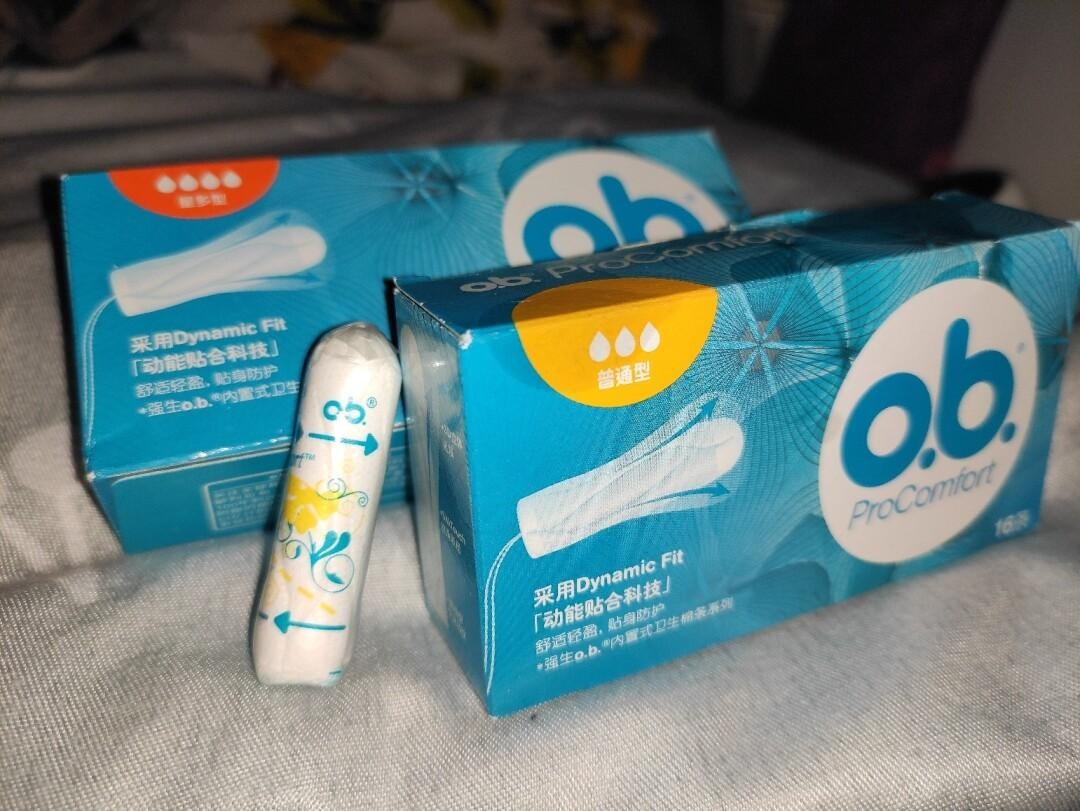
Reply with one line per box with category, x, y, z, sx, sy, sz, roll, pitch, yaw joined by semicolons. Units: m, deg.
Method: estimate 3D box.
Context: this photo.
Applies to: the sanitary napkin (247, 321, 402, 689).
sanitary napkin;-0.196;0.099;0.881;0.110;0.375;0.113;9;2;21
